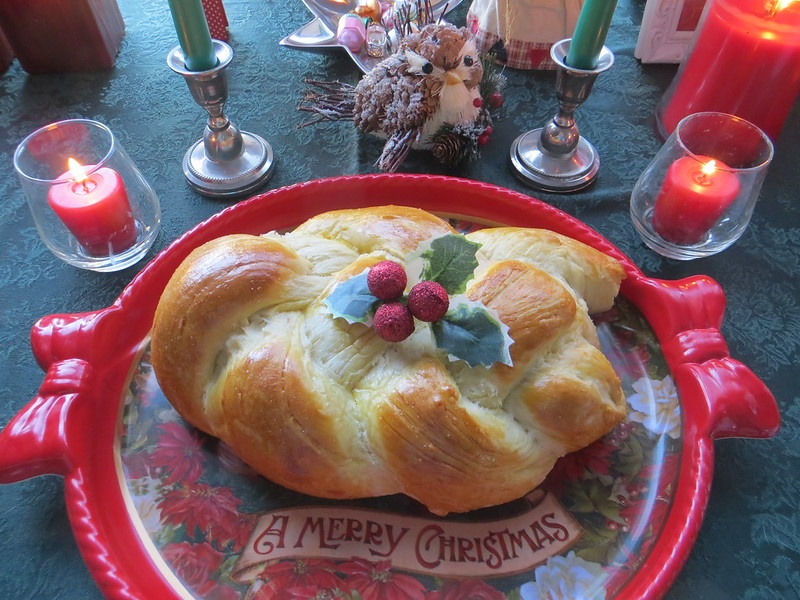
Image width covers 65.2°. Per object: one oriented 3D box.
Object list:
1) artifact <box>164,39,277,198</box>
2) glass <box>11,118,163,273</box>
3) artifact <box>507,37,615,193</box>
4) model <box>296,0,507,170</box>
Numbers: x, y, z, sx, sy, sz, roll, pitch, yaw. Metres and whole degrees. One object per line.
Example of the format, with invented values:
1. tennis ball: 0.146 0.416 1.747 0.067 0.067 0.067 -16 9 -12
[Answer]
1. artifact: -0.375 -0.377 1.287 0.191 0.234 0.191 30 50 26
2. glass: -0.605 -0.189 1.199 0.186 0.234 0.198 32 58 28
3. artifact: 0.343 -0.385 1.296 0.200 0.252 0.205 2 43 -6
4. model: 0.015 -0.382 1.327 0.380 0.190 0.399 8 55 12
